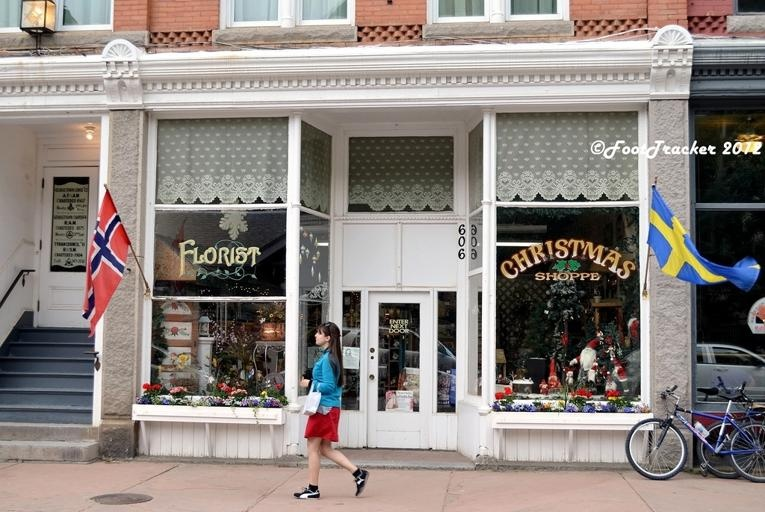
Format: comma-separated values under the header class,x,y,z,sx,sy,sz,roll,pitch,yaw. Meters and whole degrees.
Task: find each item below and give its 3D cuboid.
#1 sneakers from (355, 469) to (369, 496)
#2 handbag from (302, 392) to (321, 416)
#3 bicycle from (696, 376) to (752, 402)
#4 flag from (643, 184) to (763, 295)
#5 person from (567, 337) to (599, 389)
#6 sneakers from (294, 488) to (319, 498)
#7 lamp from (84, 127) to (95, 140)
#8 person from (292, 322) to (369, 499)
class,x,y,z,sx,sy,sz,roll,pitch,yaw
sneakers,-0.314,3.465,14.644,0.221,0.430,0.154,7,28,-7
handbag,-1.044,2.217,14.272,0.264,0.358,0.242,-2,16,-4
bicycle,5.694,2.266,16.096,0.736,0.387,0.327,7,-35,15
flag,5.340,-0.203,16.075,1.972,1.908,0.222,4,9,17
person,3.446,1.802,16.423,0.518,0.781,0.253,-1,16,-3
sneakers,-1.116,3.578,14.542,0.434,0.164,0.145,2,-13,3
lamp,-5.689,-2.381,18.729,0.240,0.234,0.225,1,-4,-19
person,-0.813,2.398,14.584,1.079,2.654,0.947,-1,16,-2
